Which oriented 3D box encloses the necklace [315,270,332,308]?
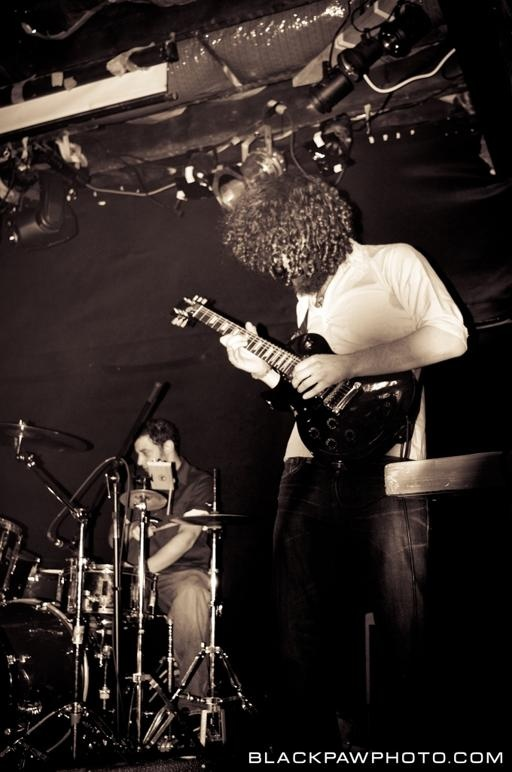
[{"bbox_3d":[0.294,-0.404,3.540,0.033,0.087,0.123,24,-20,-6],"label":"necklace"}]

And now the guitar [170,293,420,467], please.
[{"bbox_3d":[0.150,-0.048,3.378,1.034,0.409,0.129,33,13,34],"label":"guitar"}]

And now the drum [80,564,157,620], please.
[{"bbox_3d":[-0.605,0.899,3.585,0.282,0.170,0.283,2,-14,1],"label":"drum"}]

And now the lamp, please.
[{"bbox_3d":[-0.182,-1.226,3.858,2.112,0.723,0.339,-11,28,30],"label":"lamp"}]
